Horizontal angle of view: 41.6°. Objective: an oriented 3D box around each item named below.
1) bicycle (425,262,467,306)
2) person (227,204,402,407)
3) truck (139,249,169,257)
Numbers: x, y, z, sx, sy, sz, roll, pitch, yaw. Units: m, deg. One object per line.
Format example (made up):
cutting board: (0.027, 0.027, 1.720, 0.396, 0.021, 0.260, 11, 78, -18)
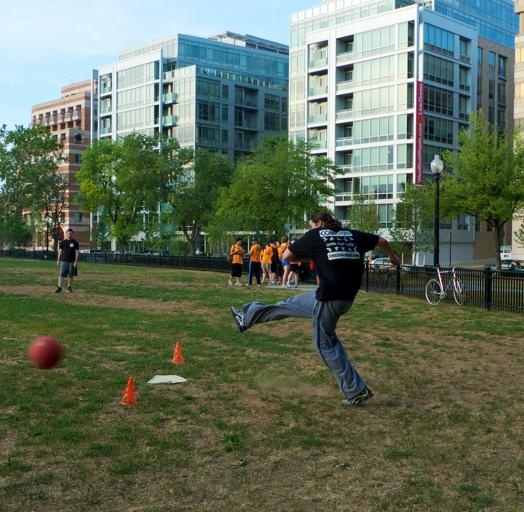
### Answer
bicycle: (5.027, 0.814, 18.899, 0.775, 1.013, 1.565, -8, 2, -29)
person: (0.704, 0.626, 8.113, 1.494, 2.021, 0.818, 0, 0, 9)
truck: (-9.067, -0.332, 58.124, 1.703, 0.455, 32.676, 0, 0, -9)
